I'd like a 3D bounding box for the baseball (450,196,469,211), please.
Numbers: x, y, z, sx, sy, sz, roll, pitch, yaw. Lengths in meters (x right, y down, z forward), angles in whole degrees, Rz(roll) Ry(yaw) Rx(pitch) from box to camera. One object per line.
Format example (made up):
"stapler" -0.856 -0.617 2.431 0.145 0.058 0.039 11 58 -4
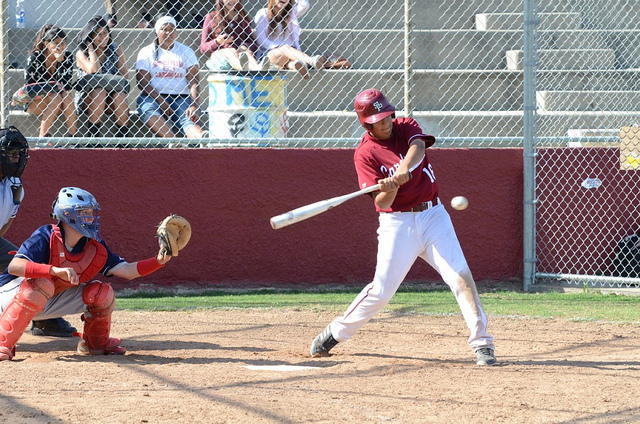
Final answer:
"baseball" 1.249 -0.077 9.066 0.124 0.147 0.254 1 13 6

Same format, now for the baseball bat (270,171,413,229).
"baseball bat" 0.153 -0.142 10.082 1.328 0.125 0.146 -21 45 -10

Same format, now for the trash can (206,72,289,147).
"trash can" -0.827 -1.162 11.613 0.875 0.865 0.852 1 -2 -1

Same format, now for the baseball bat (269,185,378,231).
"baseball bat" -0.017 -0.063 10.624 1.180 0.122 0.123 -18 33 -11

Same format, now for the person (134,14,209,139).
"person" -1.691 -1.527 11.422 0.774 1.342 0.634 -3 13 -10

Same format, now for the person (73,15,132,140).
"person" -2.450 -1.498 11.269 0.607 1.332 0.813 -3 13 -11

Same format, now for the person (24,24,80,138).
"person" -2.986 -1.441 11.146 0.569 1.214 0.276 -4 14 -16

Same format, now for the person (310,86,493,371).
"person" 0.714 0.123 8.841 1.572 2.357 0.807 1 14 9

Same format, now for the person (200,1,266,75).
"person" -0.996 -1.995 11.483 0.721 0.792 0.860 -2 13 -7

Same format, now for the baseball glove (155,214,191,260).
"baseball glove" -1.310 0.218 8.896 0.151 0.309 0.393 -44 12 48
